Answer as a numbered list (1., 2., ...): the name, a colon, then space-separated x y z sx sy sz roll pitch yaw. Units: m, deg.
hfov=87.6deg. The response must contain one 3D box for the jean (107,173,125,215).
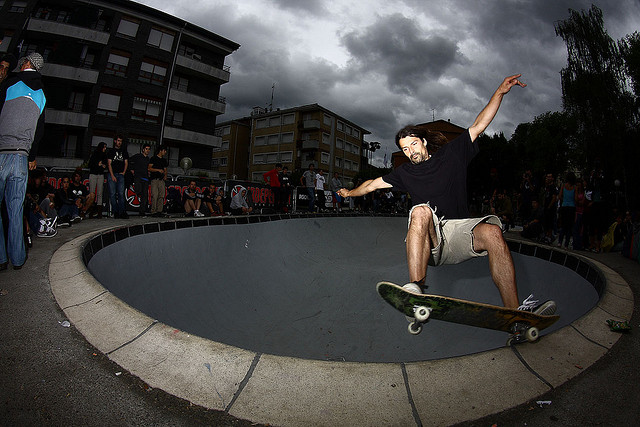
1. jean: -4.861 -0.451 7.872 0.513 0.963 0.297 5 3 35

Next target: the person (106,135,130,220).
1. person: -4.736 -0.831 7.782 0.487 1.917 0.910 2 3 -34

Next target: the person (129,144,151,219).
1. person: -4.424 -0.813 8.186 0.422 1.779 1.039 2 3 -43

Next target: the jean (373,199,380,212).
1. jean: 3.118 -0.412 18.310 0.172 0.585 0.394 1 -8 5

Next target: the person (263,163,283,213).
1. person: -1.636 -0.914 11.626 0.620 1.746 0.753 4 2 -7

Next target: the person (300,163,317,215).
1. person: -0.433 -1.061 13.284 0.613 1.287 1.253 4 2 -1

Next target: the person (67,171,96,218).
1. person: -5.650 -0.457 7.881 0.522 1.075 0.864 2 3 -35

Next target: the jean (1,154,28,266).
1. jean: -3.240 -0.060 3.507 0.215 1.166 0.475 2 3 -43

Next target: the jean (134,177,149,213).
1. jean: -4.376 -0.447 8.105 0.329 0.834 0.333 4 2 -3

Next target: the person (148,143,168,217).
1. person: -4.184 -0.846 8.520 0.427 1.799 0.804 3 3 -28

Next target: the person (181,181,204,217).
1. person: -3.634 -0.420 9.470 1.028 0.980 0.476 6 3 36

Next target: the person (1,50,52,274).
1. person: -3.307 -0.666 3.674 0.365 2.485 0.944 2 3 -40
